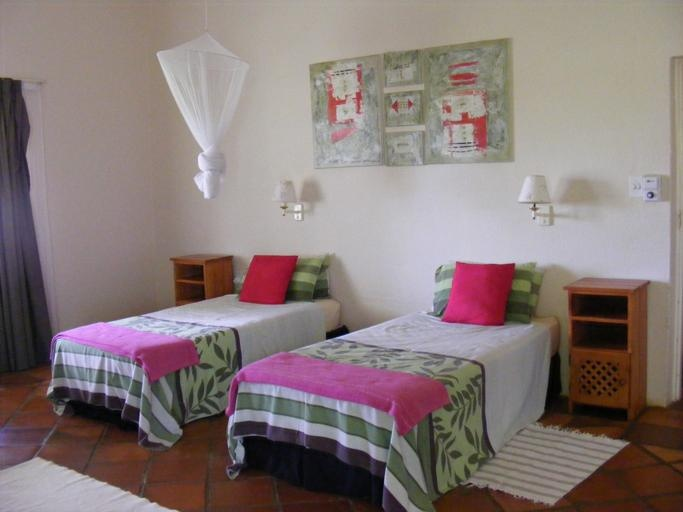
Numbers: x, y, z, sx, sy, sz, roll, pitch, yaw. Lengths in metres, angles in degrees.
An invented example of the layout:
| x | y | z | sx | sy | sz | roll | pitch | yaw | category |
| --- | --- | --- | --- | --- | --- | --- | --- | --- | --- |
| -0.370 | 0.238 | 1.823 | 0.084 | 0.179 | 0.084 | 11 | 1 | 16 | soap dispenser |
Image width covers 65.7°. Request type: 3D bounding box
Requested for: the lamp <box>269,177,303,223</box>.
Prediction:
| x | y | z | sx | sy | sz | roll | pitch | yaw | category |
| --- | --- | --- | --- | --- | --- | --- | --- | --- | --- |
| -0.532 | -0.543 | 5.252 | 0.325 | 0.401 | 0.252 | 2 | 13 | 15 | lamp |

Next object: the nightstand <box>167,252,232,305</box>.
| x | y | z | sx | sy | sz | roll | pitch | yaw | category |
| --- | --- | --- | --- | --- | --- | --- | --- | --- | --- |
| -1.371 | 0.285 | 5.667 | 0.280 | 0.493 | 0.347 | -19 | -2 | -20 | nightstand |

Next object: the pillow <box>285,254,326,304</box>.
| x | y | z | sx | sy | sz | roll | pitch | yaw | category |
| --- | --- | --- | --- | --- | --- | --- | --- | --- | --- |
| -0.331 | 0.218 | 5.050 | 0.380 | 0.378 | 0.117 | 1 | -22 | 34 | pillow |

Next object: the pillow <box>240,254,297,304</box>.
| x | y | z | sx | sy | sz | roll | pitch | yaw | category |
| --- | --- | --- | --- | --- | --- | --- | --- | --- | --- |
| -0.674 | 0.208 | 4.970 | 0.480 | 0.468 | 0.153 | 5 | -21 | 33 | pillow |

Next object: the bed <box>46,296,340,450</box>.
| x | y | z | sx | sy | sz | roll | pitch | yaw | category |
| --- | --- | --- | --- | --- | --- | --- | --- | --- | --- |
| -1.034 | 0.794 | 4.267 | 1.027 | 0.534 | 1.704 | 4 | 7 | 37 | bed |

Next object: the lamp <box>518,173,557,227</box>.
| x | y | z | sx | sy | sz | roll | pitch | yaw | category |
| --- | --- | --- | --- | --- | --- | --- | --- | --- | --- |
| 1.533 | -0.430 | 4.141 | 0.261 | 0.403 | 0.241 | 3 | 14 | 22 | lamp |

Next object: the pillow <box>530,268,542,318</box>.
| x | y | z | sx | sy | sz | roll | pitch | yaw | category |
| --- | --- | --- | --- | --- | --- | --- | --- | --- | --- |
| 1.548 | 0.261 | 4.190 | 0.085 | 0.300 | 0.290 | 5 | 9 | 10 | pillow |

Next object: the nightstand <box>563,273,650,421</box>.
| x | y | z | sx | sy | sz | roll | pitch | yaw | category |
| --- | --- | --- | --- | --- | --- | --- | --- | --- | --- |
| 1.946 | 0.654 | 3.841 | 0.474 | 0.875 | 0.464 | -1 | 4 | 43 | nightstand |
